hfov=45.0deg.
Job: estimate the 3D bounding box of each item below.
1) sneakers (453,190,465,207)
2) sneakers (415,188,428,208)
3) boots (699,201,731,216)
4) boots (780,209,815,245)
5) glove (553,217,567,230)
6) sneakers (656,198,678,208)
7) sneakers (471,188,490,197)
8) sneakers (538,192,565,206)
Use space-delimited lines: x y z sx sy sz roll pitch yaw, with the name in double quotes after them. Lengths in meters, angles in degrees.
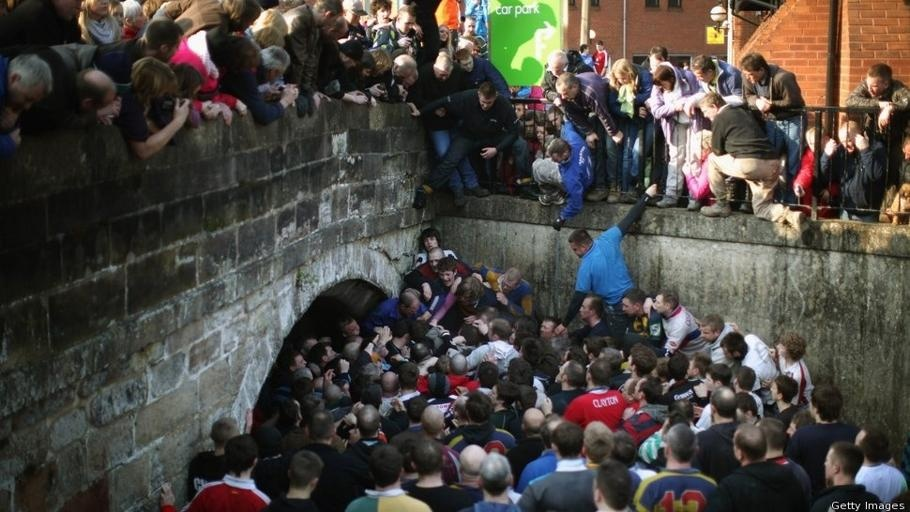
0.090 -0.909 17.571 0.133 0.234 0.226 0 19 9 "sneakers"
-0.549 -0.883 17.097 0.129 0.262 0.382 16 32 3 "sneakers"
3.942 -0.678 16.233 0.456 0.328 0.183 7 15 17 "boots"
5.048 -0.432 15.782 0.543 0.361 0.211 28 -50 -20 "boots"
1.657 -0.497 17.108 0.124 0.155 0.198 -32 5 -17 "glove"
3.263 -0.787 16.638 0.370 0.129 0.169 3 -40 -3 "sneakers"
0.406 -1.005 17.566 0.260 0.126 0.112 -2 -29 3 "sneakers"
1.538 -0.857 17.098 0.408 0.165 0.198 4 -32 5 "sneakers"
